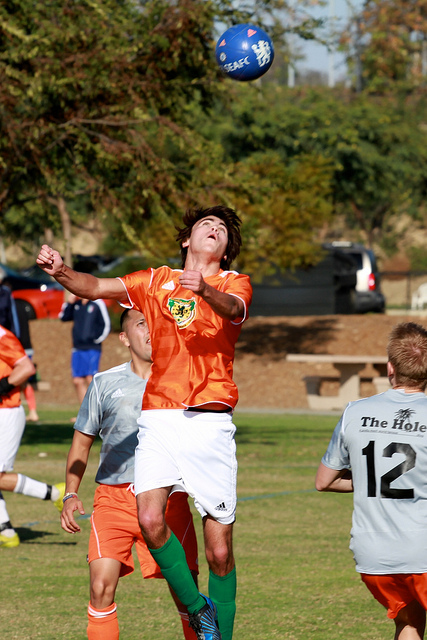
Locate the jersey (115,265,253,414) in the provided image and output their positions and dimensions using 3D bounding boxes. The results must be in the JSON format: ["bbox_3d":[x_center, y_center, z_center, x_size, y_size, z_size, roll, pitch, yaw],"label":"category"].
[{"bbox_3d":[-0.124,0.081,3.987,0.535,0.671,0.661,4,14,-7],"label":"jersey"}]

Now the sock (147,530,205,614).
[{"bbox_3d":[-0.160,1.063,3.719,0.141,0.416,0.146,-15,18,24],"label":"sock"}]

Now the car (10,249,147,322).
[{"bbox_3d":[-4.529,-0.906,24.674,5.471,1.599,2.220,1,0,4],"label":"car"}]

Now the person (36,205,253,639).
[{"bbox_3d":[-0.244,0.415,3.963,0.755,1.834,0.956,3,9,1],"label":"person"}]

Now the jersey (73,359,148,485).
[{"bbox_3d":[-0.491,0.481,4.295,0.340,0.561,0.346,2,12,-4],"label":"jersey"}]

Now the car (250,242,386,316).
[{"bbox_3d":[1.702,-0.637,15.198,2.835,1.307,1.505,2,4,5],"label":"car"}]

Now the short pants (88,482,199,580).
[{"bbox_3d":[-0.350,0.967,4.168,0.543,0.405,0.179,1,-16,-10],"label":"short pants"}]

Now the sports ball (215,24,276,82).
[{"bbox_3d":[0.206,-2.074,7.055,0.511,0.478,0.467,-5,3,0],"label":"sports ball"}]

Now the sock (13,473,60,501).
[{"bbox_3d":[-1.320,1.238,6.639,0.329,0.221,0.148,1,9,-9],"label":"sock"}]

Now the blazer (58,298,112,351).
[{"bbox_3d":[-1.935,0.028,13.292,0.786,0.881,0.331,0,2,11],"label":"blazer"}]

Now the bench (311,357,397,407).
[{"bbox_3d":[2.184,0.981,14.392,1.107,0.712,1.683,-1,0,34],"label":"bench"}]
